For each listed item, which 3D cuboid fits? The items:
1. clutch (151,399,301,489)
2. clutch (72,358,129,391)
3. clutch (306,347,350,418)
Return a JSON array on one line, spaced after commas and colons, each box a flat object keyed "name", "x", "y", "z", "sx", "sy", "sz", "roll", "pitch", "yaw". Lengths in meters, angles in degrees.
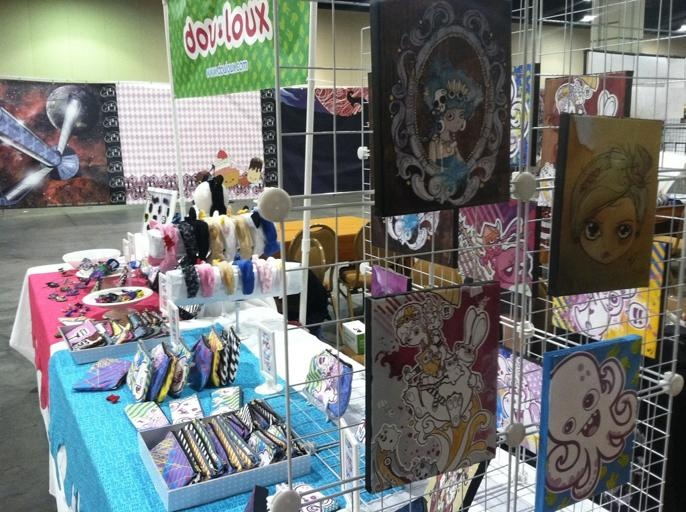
[{"name": "clutch", "x": -0.355, "y": 0.538, "z": 1.401, "sx": 0.384, "sy": 0.078, "sz": 0.279, "roll": -8, "pitch": 10, "yaw": -25}, {"name": "clutch", "x": -0.927, "y": 0.464, "z": 1.873, "sx": 0.162, "sy": 0.050, "sz": 0.260, "roll": 5, "pitch": 7, "yaw": -13}, {"name": "clutch", "x": -0.047, "y": 0.399, "z": 1.493, "sx": 0.170, "sy": 0.180, "sz": 0.018, "roll": -1, "pitch": -5, "yaw": 34}]
